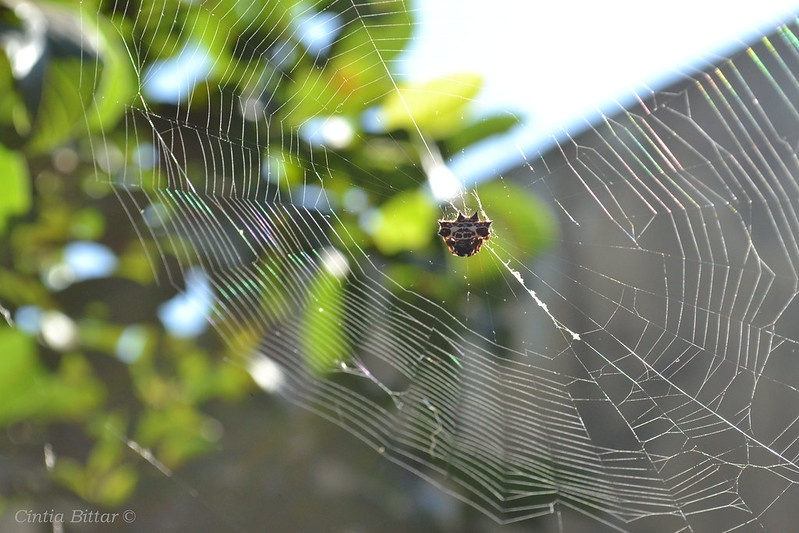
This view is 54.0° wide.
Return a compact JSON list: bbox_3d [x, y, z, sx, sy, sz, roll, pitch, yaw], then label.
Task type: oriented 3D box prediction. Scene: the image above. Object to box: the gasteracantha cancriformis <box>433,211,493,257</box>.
[{"bbox_3d":[0.350,-0.173,4.243,0.281,0.056,0.263,2,80,-32],"label":"gasteracantha cancriformis"}]
